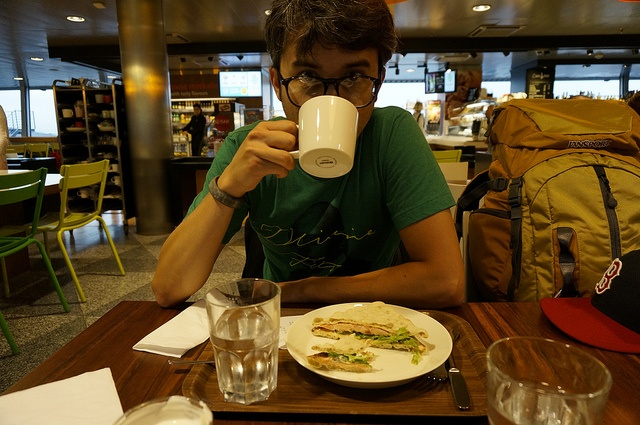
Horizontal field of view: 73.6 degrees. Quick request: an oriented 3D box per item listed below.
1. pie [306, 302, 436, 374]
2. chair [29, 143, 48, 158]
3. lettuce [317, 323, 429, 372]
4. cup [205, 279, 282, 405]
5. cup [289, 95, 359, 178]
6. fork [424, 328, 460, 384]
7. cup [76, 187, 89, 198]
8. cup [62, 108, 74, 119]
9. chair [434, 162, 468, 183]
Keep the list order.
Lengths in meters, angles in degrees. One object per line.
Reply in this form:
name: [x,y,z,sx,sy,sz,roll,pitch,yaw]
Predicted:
pie: [0.125,0.342,1.227,0.186,0.054,0.186,-5,14,-31]
chair: [-6.123,-1.327,9.275,0.356,0.334,2.162,-9,15,-33]
lettuce: [0.107,0.382,1.194,0.156,0.053,0.155,-20,30,-37]
cup: [-0.196,0.335,1.125,0.189,0.285,0.141,-2,12,-8]
cup: [0.005,-0.233,1.273,0.160,0.171,0.241,4,-29,0]
fork: [0.340,0.386,1.173,0.047,0.022,0.229,10,20,17]
cup: [-3.605,-0.286,6.567,0.185,0.177,0.124,2,6,9]
cup: [-3.754,-1.471,6.361,0.095,0.130,0.150,10,15,37]
chair: [0.851,-0.255,2.823,0.220,0.159,0.168,0,6,9]
